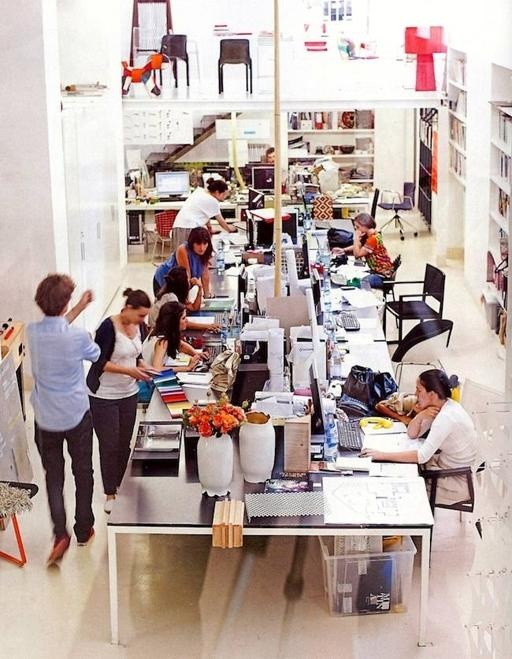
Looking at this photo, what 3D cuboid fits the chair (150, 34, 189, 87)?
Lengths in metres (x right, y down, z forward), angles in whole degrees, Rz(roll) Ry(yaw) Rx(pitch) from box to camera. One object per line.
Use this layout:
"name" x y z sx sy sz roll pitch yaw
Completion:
"chair" -1.478 -4.866 9.507 0.517 1.060 1.197 -2 6 -8

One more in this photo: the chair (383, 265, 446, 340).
"chair" 1.823 -0.283 6.118 0.582 1.067 0.726 -1 22 -5

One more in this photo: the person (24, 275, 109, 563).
"person" -0.919 0.455 2.582 0.320 1.444 0.484 -4 6 -26

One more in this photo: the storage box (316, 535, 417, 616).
"storage box" 0.426 0.978 2.191 0.371 0.304 0.316 -3 16 -6

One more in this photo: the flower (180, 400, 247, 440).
"flower" -0.150 0.322 1.860 0.210 0.157 0.183 -3 6 -9

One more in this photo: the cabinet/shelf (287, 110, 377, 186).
"cabinet/shelf" 1.385 -3.530 10.130 1.481 1.646 0.480 -2 13 -4
